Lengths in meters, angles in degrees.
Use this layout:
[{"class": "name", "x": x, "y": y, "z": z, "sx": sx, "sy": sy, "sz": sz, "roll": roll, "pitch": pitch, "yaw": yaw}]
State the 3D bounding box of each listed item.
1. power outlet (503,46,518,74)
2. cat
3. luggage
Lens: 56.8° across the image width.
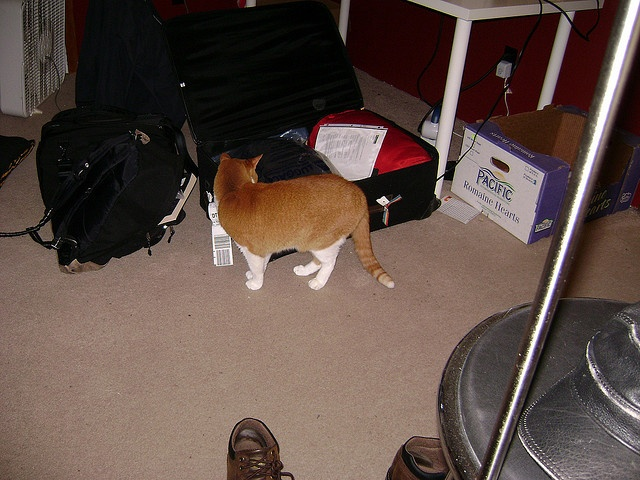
[{"class": "power outlet", "x": 1.004, "y": -0.946, "z": 3.122, "sx": 0.078, "sy": 0.120, "sz": 0.033, "roll": 18, "pitch": 26, "yaw": 30}, {"class": "cat", "x": -0.070, "y": -0.156, "z": 2.396, "sx": 0.800, "sy": 0.587, "sz": 0.382, "roll": 0, "pitch": 44, "yaw": -2}, {"class": "luggage", "x": -0.145, "y": -0.630, "z": 2.675, "sx": 1.112, "sy": 0.801, "sz": 1.196, "roll": -17, "pitch": 56, "yaw": -14}]
